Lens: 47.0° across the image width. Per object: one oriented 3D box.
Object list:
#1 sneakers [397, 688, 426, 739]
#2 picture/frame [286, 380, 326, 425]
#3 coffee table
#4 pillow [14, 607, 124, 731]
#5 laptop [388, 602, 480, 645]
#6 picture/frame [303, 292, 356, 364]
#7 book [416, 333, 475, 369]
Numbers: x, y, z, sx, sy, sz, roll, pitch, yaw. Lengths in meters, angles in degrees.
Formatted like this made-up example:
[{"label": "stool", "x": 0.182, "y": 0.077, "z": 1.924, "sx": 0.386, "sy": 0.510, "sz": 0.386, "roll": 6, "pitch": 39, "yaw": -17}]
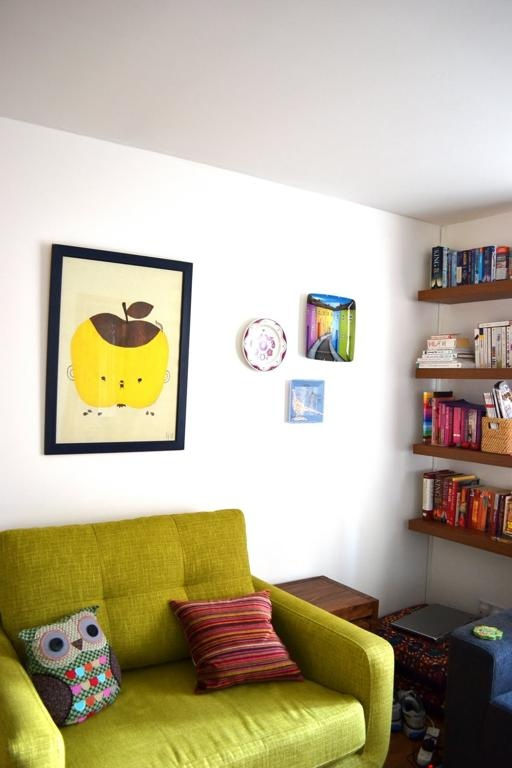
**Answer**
[{"label": "sneakers", "x": 0.661, "y": 1.423, "z": 2.516, "sx": 0.064, "sy": 0.080, "sz": 0.181, "roll": 0, "pitch": 2, "yaw": -8}, {"label": "picture/frame", "x": 0.214, "y": 0.102, "z": 3.069, "sx": 0.216, "sy": 0.230, "sz": 0.207, "roll": 3, "pitch": -2, "yaw": -26}, {"label": "coffee table", "x": 0.348, "y": 0.921, "z": 2.742, "sx": 0.317, "sy": 0.345, "sz": 0.313, "roll": 1, "pitch": 0, "yaw": -37}, {"label": "pillow", "x": -0.539, "y": 0.863, "z": 1.800, "sx": 0.206, "sy": 0.261, "sz": 0.318, "roll": 1, "pitch": 3, "yaw": 36}, {"label": "laptop", "x": 0.938, "y": 1.240, "z": 3.072, "sx": 0.402, "sy": 0.054, "sz": 0.252, "roll": 1, "pitch": -1, "yaw": -43}, {"label": "picture/frame", "x": 0.378, "y": -0.294, "z": 3.116, "sx": 0.378, "sy": 0.387, "sz": 0.039, "roll": -1, "pitch": 5, "yaw": -38}, {"label": "book", "x": 1.119, "y": -0.151, "z": 3.416, "sx": 0.232, "sy": 0.150, "sz": 0.229, "roll": 6, "pitch": -8, "yaw": -44}]
